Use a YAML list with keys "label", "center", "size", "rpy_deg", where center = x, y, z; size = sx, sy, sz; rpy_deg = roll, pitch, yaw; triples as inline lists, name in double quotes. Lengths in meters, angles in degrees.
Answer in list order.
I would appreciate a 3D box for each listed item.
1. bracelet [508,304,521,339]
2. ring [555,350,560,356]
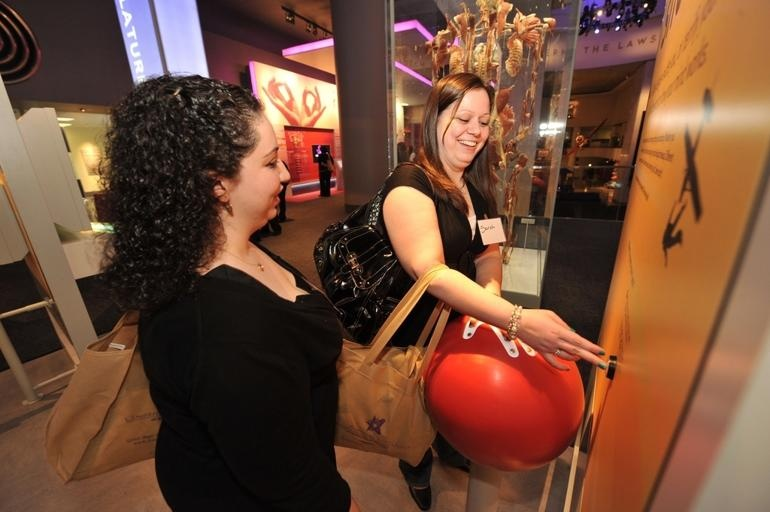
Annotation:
- label: "bracelet"
  center: [0.471, 0.244, 1.659]
  size: [0.031, 0.097, 0.075]
  rpy_deg: [16, 5, 5]
- label: "ring"
  center: [0.624, 0.352, 1.645]
  size: [0.017, 0.017, 0.017]
  rpy_deg: [-17, 3, 1]
